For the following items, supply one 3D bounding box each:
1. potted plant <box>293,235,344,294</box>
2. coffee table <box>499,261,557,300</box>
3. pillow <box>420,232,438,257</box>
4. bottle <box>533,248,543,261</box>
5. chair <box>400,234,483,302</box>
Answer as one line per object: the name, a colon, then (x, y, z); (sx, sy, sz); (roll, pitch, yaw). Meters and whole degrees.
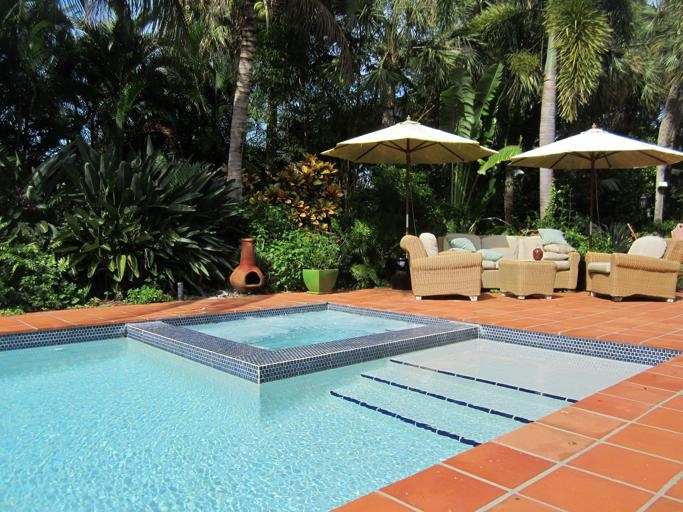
potted plant: (-0.407, 0.117, 8.570); (0.749, 1.073, 1.027); (0, 7, -3)
coffee table: (3.142, 0.349, 7.833); (0.863, 0.683, 0.742); (0, 2, -19)
pillow: (1.520, -0.200, 8.021); (0.392, 0.375, 0.154); (2, -18, -36)
bottle: (3.445, -0.047, 7.943); (0.138, 0.221, 0.212); (3, 7, 21)
chair: (1.694, 0.156, 7.976); (1.274, 1.078, 1.275); (2, 4, -2)
